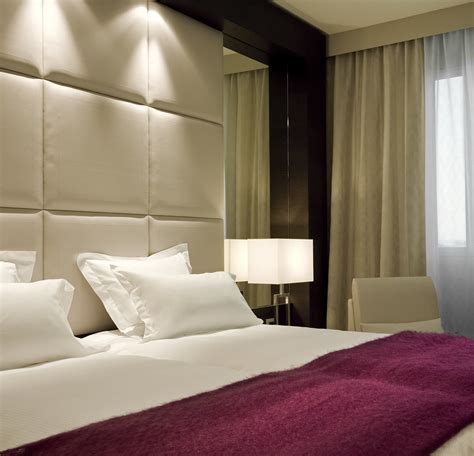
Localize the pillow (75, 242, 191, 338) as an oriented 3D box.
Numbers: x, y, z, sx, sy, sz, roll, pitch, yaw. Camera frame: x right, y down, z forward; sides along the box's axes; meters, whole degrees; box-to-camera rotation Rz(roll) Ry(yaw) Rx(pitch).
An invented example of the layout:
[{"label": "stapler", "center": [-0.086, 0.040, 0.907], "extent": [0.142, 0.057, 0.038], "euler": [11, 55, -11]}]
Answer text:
[{"label": "pillow", "center": [-0.600, 0.321, 2.167], "extent": [0.121, 0.448, 0.504], "euler": [-19, -6, 25]}]

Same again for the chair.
[{"label": "chair", "center": [1.119, 0.550, 2.868], "extent": [0.414, 0.526, 0.450], "euler": [-1, -14, -8]}]

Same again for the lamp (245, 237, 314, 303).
[{"label": "lamp", "center": [0.332, 0.431, 3.224], "extent": [0.290, 0.448, 0.572], "euler": [-3, -5, 35]}]
